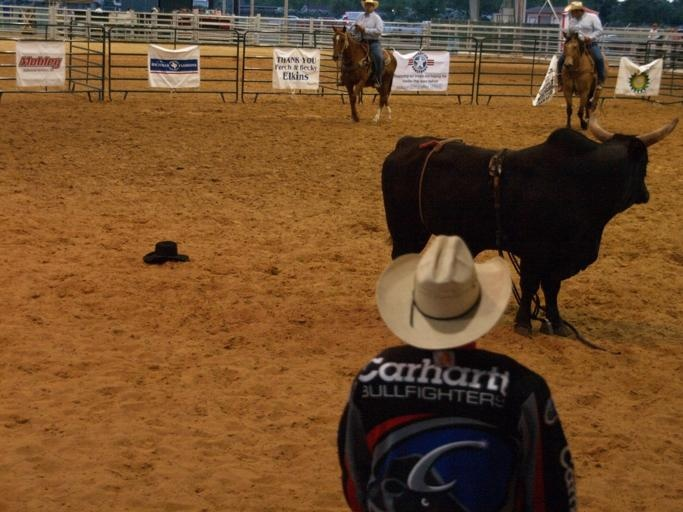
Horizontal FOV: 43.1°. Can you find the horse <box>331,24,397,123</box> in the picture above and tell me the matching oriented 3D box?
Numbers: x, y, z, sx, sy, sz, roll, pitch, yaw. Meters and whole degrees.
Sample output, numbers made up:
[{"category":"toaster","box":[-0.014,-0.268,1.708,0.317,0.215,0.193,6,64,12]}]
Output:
[{"category":"horse","box":[0.372,-3.376,16.379,0.821,1.621,2.778,5,8,23]}]

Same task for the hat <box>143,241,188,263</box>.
[{"category":"hat","box":[-1.928,-0.044,9.429,0.385,0.129,0.263,-3,10,-16]}]

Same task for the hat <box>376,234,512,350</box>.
[{"category":"hat","box":[0.559,0.207,4.801,0.734,0.281,0.700,8,45,23]}]
